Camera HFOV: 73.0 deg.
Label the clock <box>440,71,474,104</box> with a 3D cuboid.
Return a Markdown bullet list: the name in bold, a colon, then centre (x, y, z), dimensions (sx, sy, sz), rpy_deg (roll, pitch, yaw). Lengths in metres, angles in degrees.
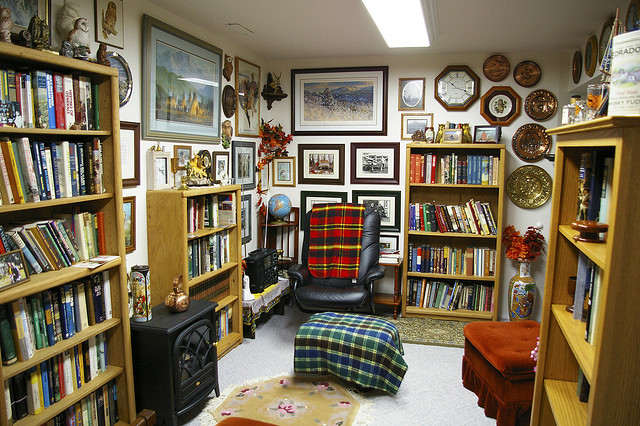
- **clock**: centre (1.619, -1.500, 5.116), dimensions (0.392, 0.402, 0.028), rpy_deg (0, 5, 11)

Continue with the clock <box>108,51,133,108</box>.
- **clock**: centre (-1.612, -1.085, 3.486), dimensions (0.408, 0.419, 0.029), rpy_deg (27, 27, 33)

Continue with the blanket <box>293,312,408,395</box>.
- **blanket**: centre (0.280, 1.209, 3.823), dimensions (0.801, 0.372, 0.576), rpy_deg (-1, 2, 17)

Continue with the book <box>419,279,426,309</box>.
- **book**: centre (1.228, 0.994, 5.245), dimensions (0.049, 0.467, 0.300), rpy_deg (3, 5, 13)

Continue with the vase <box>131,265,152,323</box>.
- **vase**: centre (-1.353, 0.604, 3.289), dimensions (0.136, 0.387, 0.239), rpy_deg (-6, 15, -23)

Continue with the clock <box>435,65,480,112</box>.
- **clock**: centre (1.628, -1.499, 5.116), dimensions (0.548, 0.601, 0.078), rpy_deg (0, 6, 9)

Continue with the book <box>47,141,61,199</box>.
- **book**: centre (-1.665, -0.270, 2.742), dimensions (0.039, 0.341, 0.085), rpy_deg (-7, 16, -27)

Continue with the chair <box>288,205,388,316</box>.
- **chair**: centre (0.059, 0.573, 5.160), dimensions (1.237, 1.459, 1.233), rpy_deg (0, -1, 10)

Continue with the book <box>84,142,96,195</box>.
- **book**: centre (-1.530, -0.302, 2.908), dimensions (0.052, 0.335, 0.103), rpy_deg (-3, 14, -12)

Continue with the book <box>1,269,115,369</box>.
- **book**: centre (-1.661, 0.644, 2.781), dimensions (0.135, 0.375, 0.726), rpy_deg (7, 15, 25)

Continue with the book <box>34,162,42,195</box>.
- **book**: centre (-1.708, -0.213, 2.633), dimensions (0.019, 0.195, 0.055), rpy_deg (-5, 15, -22)

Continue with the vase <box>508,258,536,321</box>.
- **vase**: centre (2.265, 0.859, 4.910), dimensions (0.272, 0.710, 0.453), rpy_deg (7, 15, 24)

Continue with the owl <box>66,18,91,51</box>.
- **owl**: centre (-1.635, -1.221, 2.951), dimensions (0.164, 0.210, 0.143), rpy_deg (10, 11, 22)

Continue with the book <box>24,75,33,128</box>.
- **book**: centre (-1.732, -0.675, 2.595), dimensions (0.027, 0.299, 0.076), rpy_deg (-4, 14, -16)

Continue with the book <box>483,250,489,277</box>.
- **book**: centre (1.912, 0.579, 5.026), dimensions (0.049, 0.213, 0.204), rpy_deg (1, 2, 6)

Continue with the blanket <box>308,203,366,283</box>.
- **blanket**: centre (0.205, 0.385, 5.043), dimensions (0.858, 1.189, 0.126), rpy_deg (1, -11, 13)
